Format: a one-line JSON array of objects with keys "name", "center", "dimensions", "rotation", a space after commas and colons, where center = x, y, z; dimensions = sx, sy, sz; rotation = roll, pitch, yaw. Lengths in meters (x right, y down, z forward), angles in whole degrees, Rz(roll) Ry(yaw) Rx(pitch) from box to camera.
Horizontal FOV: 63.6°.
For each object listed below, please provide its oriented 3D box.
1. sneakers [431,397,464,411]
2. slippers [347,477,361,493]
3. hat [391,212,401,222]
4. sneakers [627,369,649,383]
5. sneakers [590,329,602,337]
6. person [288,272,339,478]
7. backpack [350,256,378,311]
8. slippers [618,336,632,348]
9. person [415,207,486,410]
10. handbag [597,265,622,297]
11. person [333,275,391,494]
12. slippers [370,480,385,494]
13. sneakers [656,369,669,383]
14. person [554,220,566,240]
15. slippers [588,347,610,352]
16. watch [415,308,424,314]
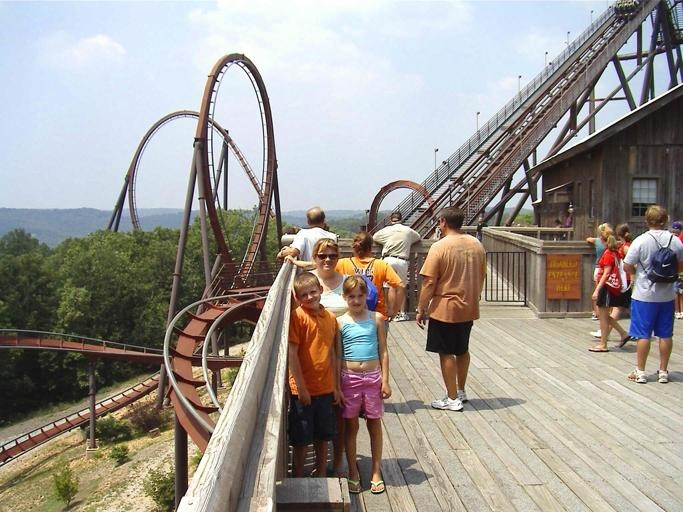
[{"name": "sneakers", "center": [1.286, 1.773, 6.621], "dimensions": [0.345, 0.190, 0.156], "rotation": [2, -3, 9]}, {"name": "slippers", "center": [0.124, 2.128, 5.153], "dimensions": [0.133, 0.133, 0.112], "rotation": [-2, 9, -9]}, {"name": "hat", "center": [0.993, -0.717, 9.987], "dimensions": [0.143, 0.205, 0.193], "rotation": [1, 17, 3]}, {"name": "sneakers", "center": [3.947, 1.593, 7.332], "dimensions": [0.121, 0.178, 0.311], "rotation": [-1, 1, 0]}, {"name": "sneakers", "center": [4.486, 1.341, 9.696], "dimensions": [0.101, 0.151, 0.321], "rotation": [1, 4, 21]}, {"name": "person", "center": [-0.246, 1.219, 5.060], "dimensions": [0.488, 1.612, 0.369], "rotation": [-2, 9, -10]}, {"name": "backpack", "center": [0.297, 0.308, 5.906], "dimensions": [0.289, 0.445, 0.422], "rotation": [-1, 11, 7]}, {"name": "slippers", "center": [4.590, 1.379, 8.907], "dimensions": [0.084, 0.341, 0.118], "rotation": [17, 37, 15]}, {"name": "person", "center": [1.292, 0.625, 6.579], "dimensions": [0.829, 2.408, 0.467], "rotation": [-6, 10, -31]}, {"name": "handbag", "center": [4.239, 0.389, 8.677], "dimensions": [0.330, 0.510, 0.260], "rotation": [7, -9, 1]}, {"name": "person", "center": [0.210, 1.176, 5.214], "dimensions": [0.482, 1.984, 0.535], "rotation": [-1, 9, -1]}, {"name": "slippers", "center": [0.342, 2.130, 5.173], "dimensions": [0.146, 0.114, 0.151], "rotation": [0, 9, 2]}, {"name": "sneakers", "center": [4.302, 1.583, 7.381], "dimensions": [0.095, 0.124, 0.263], "rotation": [-1, 1, 15]}, {"name": "person", "center": [6.892, -0.853, 17.322], "dimensions": [0.317, 0.563, 1.395], "rotation": [3, 10, 22]}, {"name": "slippers", "center": [4.067, 1.474, 8.707], "dimensions": [0.236, 0.067, 0.119], "rotation": [4, -2, -2]}, {"name": "watch", "center": [0.929, 0.645, 6.515], "dimensions": [0.066, 0.088, 0.081], "rotation": [-3, 4, -10]}]
